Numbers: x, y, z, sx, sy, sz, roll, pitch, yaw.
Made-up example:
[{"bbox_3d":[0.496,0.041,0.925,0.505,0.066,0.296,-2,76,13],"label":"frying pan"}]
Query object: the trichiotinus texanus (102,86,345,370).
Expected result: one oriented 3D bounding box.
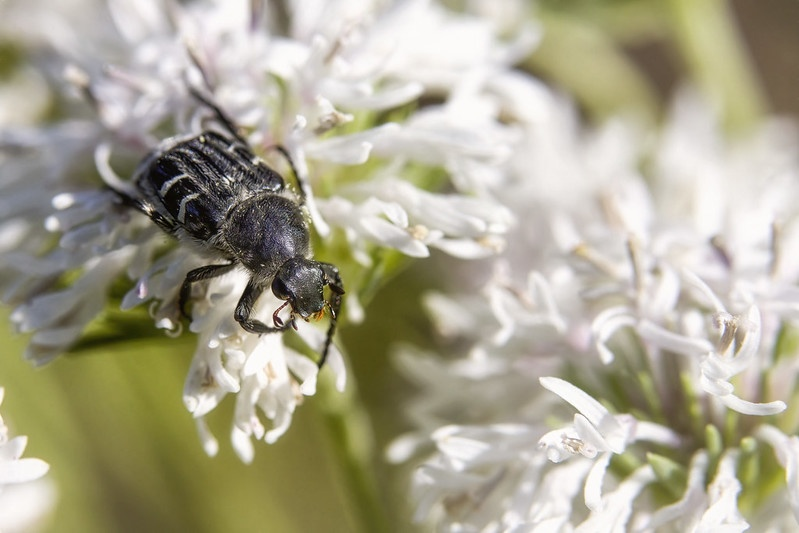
[{"bbox_3d":[-0.243,-0.043,1.049,0.253,0.274,0.208,-15,14,-18],"label":"trichiotinus texanus"}]
